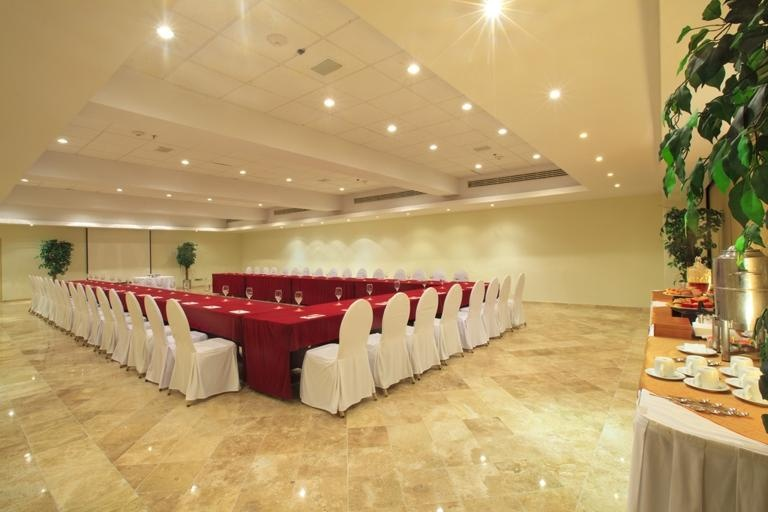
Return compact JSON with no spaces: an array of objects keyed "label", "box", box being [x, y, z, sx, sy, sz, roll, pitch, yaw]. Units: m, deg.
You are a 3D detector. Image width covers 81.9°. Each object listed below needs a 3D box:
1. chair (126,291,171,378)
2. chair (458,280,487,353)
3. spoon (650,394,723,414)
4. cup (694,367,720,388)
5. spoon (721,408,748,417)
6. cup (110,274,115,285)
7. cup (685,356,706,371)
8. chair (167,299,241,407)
[{"label":"chair","box":[-2.981,0.959,5.799,0.640,1.027,0.661,-6,5,-42]},{"label":"chair","box":[1.190,0.862,6.717,0.730,0.977,0.752,1,0,16]},{"label":"spoon","box":[2.010,0.969,2.899,0.107,0.018,0.325,-8,6,-36]},{"label":"cup","box":[2.206,0.840,3.033,0.168,0.121,0.106,-9,7,-42]},{"label":"spoon","box":[2.220,0.998,2.811,0.060,0.025,0.086,-3,-11,-12]},{"label":"cup","box":[-6.552,0.575,10.689,0.126,0.216,0.138,0,-1,0]},{"label":"cup","box":[2.235,0.769,3.192,0.088,0.099,0.138,4,23,43]},{"label":"chair","box":[-2.107,1.042,5.155,0.777,1.127,0.847,2,5,10]}]
